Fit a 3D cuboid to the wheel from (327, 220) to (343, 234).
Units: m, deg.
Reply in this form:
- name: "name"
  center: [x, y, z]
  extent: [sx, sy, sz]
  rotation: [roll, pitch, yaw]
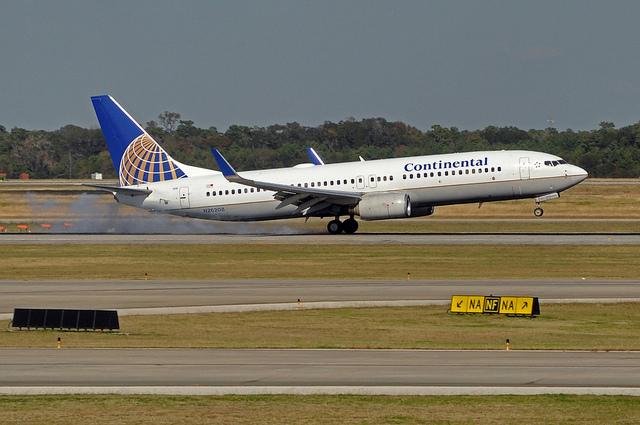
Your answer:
- name: "wheel"
  center: [1.170, 1.069, 88.567]
  extent: [1.339, 1.010, 0.454]
  rotation: [-1, 1, 2]
